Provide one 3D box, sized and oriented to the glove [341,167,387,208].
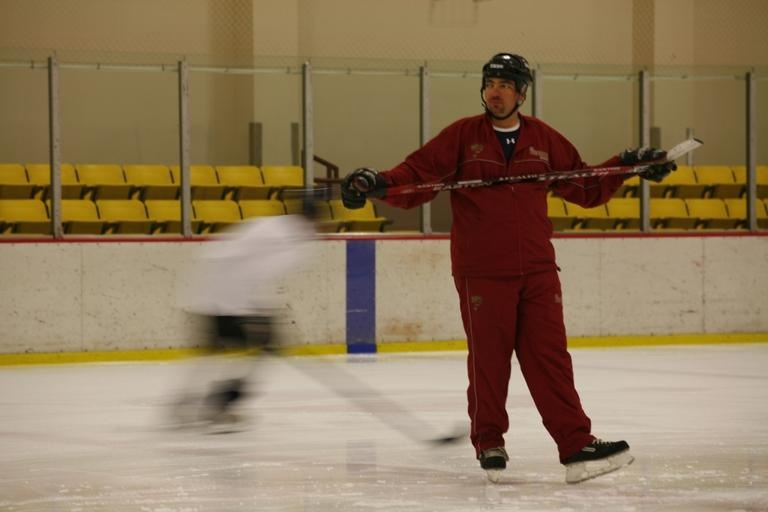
[{"bbox_3d":[-0.180,-0.599,12.577,0.394,0.338,0.140,-1,3,-2],"label":"glove"}]
